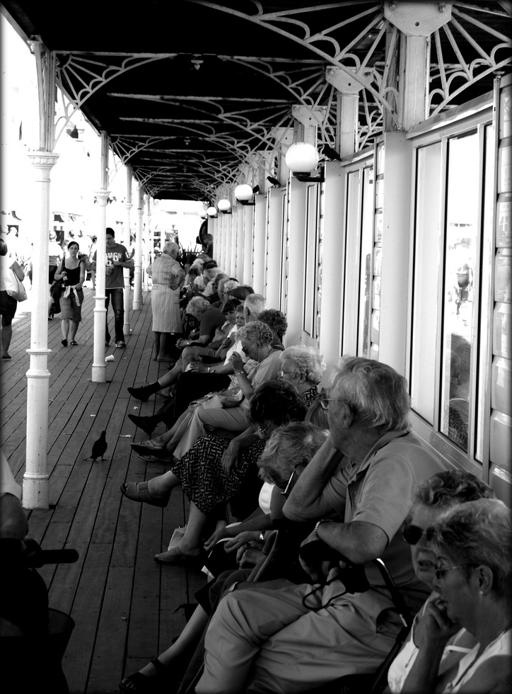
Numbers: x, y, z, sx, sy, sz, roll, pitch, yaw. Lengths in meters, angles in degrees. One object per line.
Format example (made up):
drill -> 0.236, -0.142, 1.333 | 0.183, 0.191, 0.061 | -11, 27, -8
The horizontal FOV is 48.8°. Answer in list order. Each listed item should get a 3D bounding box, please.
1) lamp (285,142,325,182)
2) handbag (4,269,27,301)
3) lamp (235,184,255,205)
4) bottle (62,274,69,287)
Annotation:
lamp -> 0.504, -1.886, 5.911 | 0.369, 0.464, 1.070 | 1, 6, 4
handbag -> -4.141, -1.072, 9.809 | 0.299, 0.559, 0.654 | 0, 6, -14
lamp -> -0.204, -2.957, 10.865 | 0.363, 0.388, 0.614 | 1, 6, -1
bottle -> -3.923, -1.381, 11.717 | 0.146, 0.266, 0.084 | 2, -3, 4
